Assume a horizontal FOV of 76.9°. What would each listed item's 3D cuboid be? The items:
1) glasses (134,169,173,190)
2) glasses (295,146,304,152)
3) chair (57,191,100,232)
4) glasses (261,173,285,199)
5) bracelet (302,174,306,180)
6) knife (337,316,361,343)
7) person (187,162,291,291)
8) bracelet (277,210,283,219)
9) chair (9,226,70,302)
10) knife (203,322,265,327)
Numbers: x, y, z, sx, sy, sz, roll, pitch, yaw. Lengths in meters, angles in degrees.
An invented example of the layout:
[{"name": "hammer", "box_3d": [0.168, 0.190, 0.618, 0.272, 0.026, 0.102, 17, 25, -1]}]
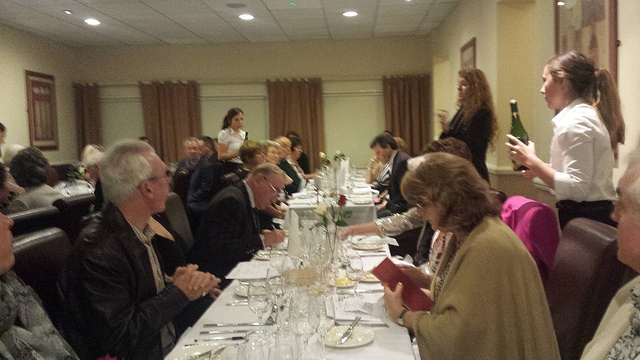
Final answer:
[{"name": "glasses", "box_3d": [-1.115, -0.002, 2.652, 0.095, 0.122, 0.124, -1, 39, 21]}, {"name": "glasses", "box_3d": [-0.451, -0.643, 8.424, 0.142, 0.147, 0.081, 9, 11, -22]}, {"name": "chair", "box_3d": [-2.144, 0.285, 3.546, 0.184, 0.308, 0.336, -1, 8, 11]}, {"name": "glasses", "box_3d": [-0.439, 0.047, 3.645, 0.053, 0.175, 0.175, -31, -27, 14]}, {"name": "bracelet", "box_3d": [-0.284, -0.053, 7.058, 0.051, 0.125, 0.126, -2, -21, -6]}, {"name": "knife", "box_3d": [0.167, 0.860, 2.290, 0.045, 0.022, 0.306, 6, 7, 15]}, {"name": "person", "box_3d": [-0.733, 0.640, 3.778, 0.855, 1.583, 0.739, 8, 9, -9]}, {"name": "bracelet", "box_3d": [-0.515, 0.442, 5.137, 0.057, 0.076, 0.023, -4, -23, -3]}, {"name": "chair", "box_3d": [-1.710, 0.527, 2.442, 0.311, 0.460, 0.266, 22, 24, 12]}, {"name": "knife", "box_3d": [-0.499, 0.847, 2.360, 0.412, 0.033, 0.039, 0, 3, 1]}]
